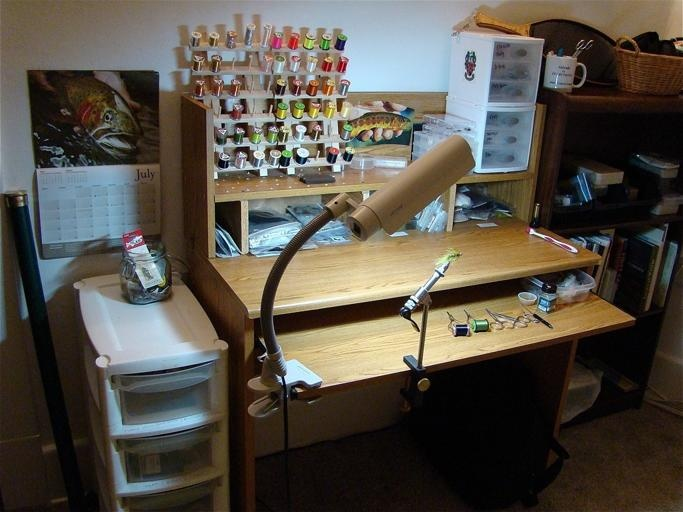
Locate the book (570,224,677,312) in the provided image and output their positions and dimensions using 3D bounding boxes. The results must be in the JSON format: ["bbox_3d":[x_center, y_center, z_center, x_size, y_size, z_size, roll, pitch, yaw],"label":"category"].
[{"bbox_3d":[1.296,0.042,2.267,0.389,0.328,0.256,-10,24,-33],"label":"book"}]

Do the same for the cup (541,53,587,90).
[{"bbox_3d":[0.934,-0.749,2.050,0.189,0.124,0.108,3,18,-4],"label":"cup"}]

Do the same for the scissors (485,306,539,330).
[{"bbox_3d":[0.621,0.221,1.774,0.172,0.020,0.136,-3,19,-3],"label":"scissors"}]

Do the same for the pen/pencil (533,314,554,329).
[{"bbox_3d":[0.721,0.231,1.757,0.092,0.018,0.016,43,18,31],"label":"pen/pencil"}]

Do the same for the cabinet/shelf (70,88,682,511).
[{"bbox_3d":[0.087,0.157,1.860,1.703,1.431,0.808,-10,29,-19],"label":"cabinet/shelf"}]

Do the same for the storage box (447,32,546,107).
[{"bbox_3d":[0.627,-0.768,2.086,0.403,0.254,0.368,8,24,16],"label":"storage box"}]

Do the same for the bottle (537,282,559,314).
[{"bbox_3d":[0.769,0.158,1.824,0.067,0.099,0.066,-1,29,1],"label":"bottle"}]
